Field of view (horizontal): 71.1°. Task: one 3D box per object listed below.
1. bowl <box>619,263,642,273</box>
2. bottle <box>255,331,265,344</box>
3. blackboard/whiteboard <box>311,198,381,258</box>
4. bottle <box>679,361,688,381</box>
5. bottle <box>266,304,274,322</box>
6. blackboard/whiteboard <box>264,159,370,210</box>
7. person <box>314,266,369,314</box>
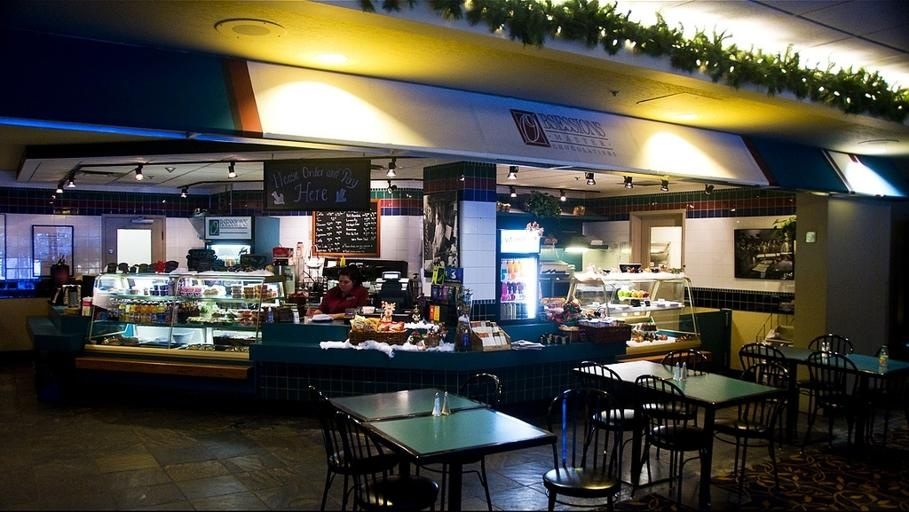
[{"bbox_3d":[3.375,0.242,12.305,0.392,0.183,0.822,-2,0,13],"label":"bowl"},{"bbox_3d":[-3.162,1.337,10.337,0.176,0.191,0.074,-4,-24,33],"label":"bottle"},{"bbox_3d":[-2.215,-0.570,13.473,1.829,1.133,0.075,1,3,9],"label":"blackboard/whiteboard"},{"bbox_3d":[3.229,1.649,9.005,0.103,0.246,0.351,-3,-1,19],"label":"bottle"},{"bbox_3d":[-3.004,0.956,10.404,0.104,0.219,0.237,-3,0,-29],"label":"bottle"},{"bbox_3d":[-2.091,-1.090,9.833,2.102,0.826,0.176,3,6,27],"label":"blackboard/whiteboard"},{"bbox_3d":[-1.882,0.590,10.748,0.829,0.704,0.490,-2,-1,-10],"label":"person"}]
